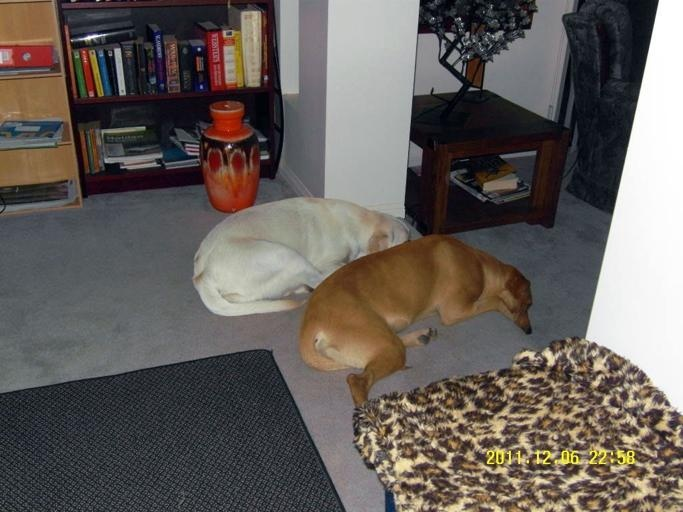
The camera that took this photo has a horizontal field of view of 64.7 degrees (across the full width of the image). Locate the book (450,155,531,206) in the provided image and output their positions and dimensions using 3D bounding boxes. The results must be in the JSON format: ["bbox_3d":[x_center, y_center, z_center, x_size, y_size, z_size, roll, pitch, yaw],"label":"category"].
[{"bbox_3d":[0.874,-0.486,3.388,0.327,0.117,0.438,-13,38,-12],"label":"book"}]

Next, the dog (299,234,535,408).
[{"bbox_3d":[0.305,0.277,2.068,0.871,0.299,0.498,-15,35,-27],"label":"dog"}]

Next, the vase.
[{"bbox_3d":[-0.663,-0.593,3.241,0.355,0.610,0.371,24,37,32],"label":"vase"}]

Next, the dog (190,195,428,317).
[{"bbox_3d":[-0.154,-0.034,2.516,1.128,0.379,0.580,-16,27,-38],"label":"dog"}]

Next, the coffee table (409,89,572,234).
[{"bbox_3d":[0.756,-0.636,3.260,0.817,0.672,0.881,-7,33,-12],"label":"coffee table"}]
